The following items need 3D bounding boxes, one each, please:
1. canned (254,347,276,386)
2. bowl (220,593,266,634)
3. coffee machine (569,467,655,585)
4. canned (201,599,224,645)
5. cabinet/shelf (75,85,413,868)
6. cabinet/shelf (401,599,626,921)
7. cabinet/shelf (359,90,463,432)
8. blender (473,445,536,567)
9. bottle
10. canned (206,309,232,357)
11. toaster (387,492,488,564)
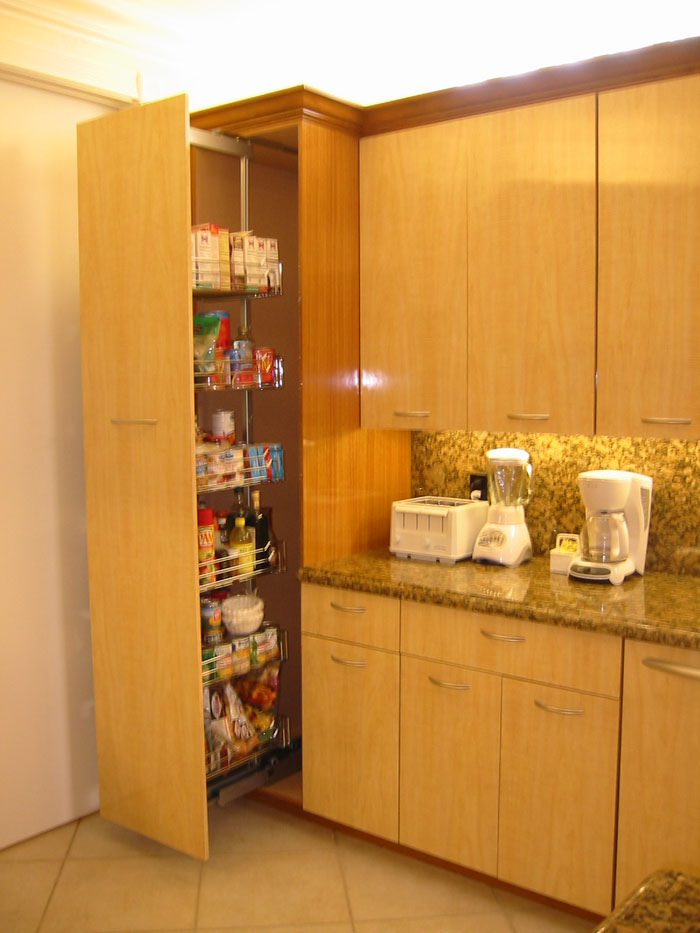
[{"bbox_3d":[-0.256,-0.307,2.329,0.061,0.121,0.129,0,1,8],"label":"canned"},{"bbox_3d":[-0.323,0.465,2.336,0.147,0.126,0.106,-1,1,-27],"label":"bowl"},{"bbox_3d":[0.728,0.165,2.126,0.179,0.300,0.187,-6,10,-31],"label":"coffee machine"},{"bbox_3d":[-0.410,0.471,2.254,0.056,0.127,0.057,-1,1,-17],"label":"canned"},{"bbox_3d":[-0.348,-0.010,2.375,0.924,2.313,0.744,-1,1,-23],"label":"cabinet/shelf"},{"bbox_3d":[0.450,0.688,2.092,0.589,0.844,0.327,7,22,23],"label":"cabinet/shelf"},{"bbox_3d":[0.200,-0.593,2.414,0.337,0.987,0.106,0,-7,6],"label":"cabinet/shelf"},{"bbox_3d":[0.491,0.129,2.433,0.183,0.366,0.302,0,1,14],"label":"blender"},{"bbox_3d":[-0.348,0.223,2.324,0.186,0.312,0.268,-1,-1,39],"label":"bottle"},{"bbox_3d":[-0.369,-0.401,2.253,0.040,0.120,0.078,0,1,29],"label":"canned"},{"bbox_3d":[0.273,0.213,2.504,0.244,0.208,0.205,4,7,37],"label":"toaster"}]
